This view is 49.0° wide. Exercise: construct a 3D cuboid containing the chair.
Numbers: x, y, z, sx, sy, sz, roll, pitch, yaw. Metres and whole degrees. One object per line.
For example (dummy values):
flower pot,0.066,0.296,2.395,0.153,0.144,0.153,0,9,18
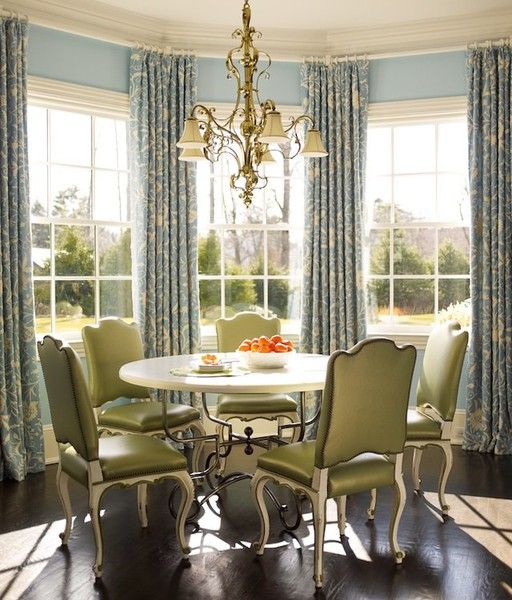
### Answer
chair,-0.162,0.585,3.120,2.479,0.987,1.693,0,1,27
